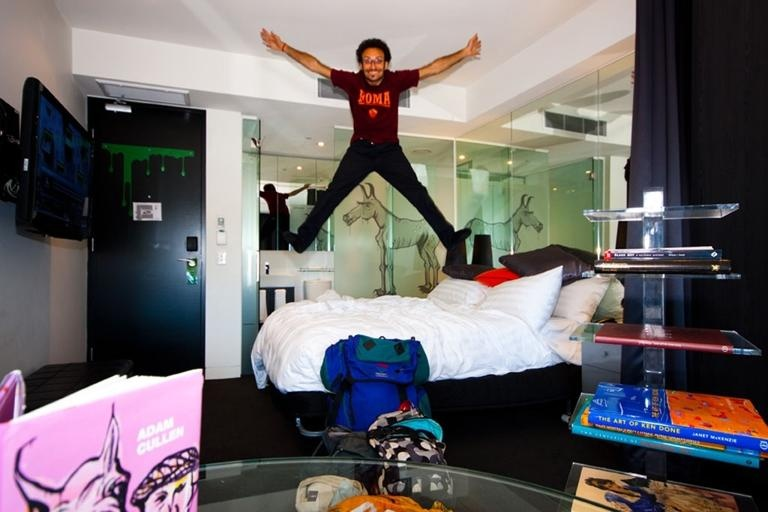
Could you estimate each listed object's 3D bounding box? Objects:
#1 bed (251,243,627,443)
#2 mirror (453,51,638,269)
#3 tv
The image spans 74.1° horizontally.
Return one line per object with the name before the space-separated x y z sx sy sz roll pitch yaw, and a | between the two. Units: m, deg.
bed | 0.406 0.583 3.987 2.018 0.767 1.426 2 -3 -11
mirror | 1.502 -0.919 4.682 0.056 1.399 2.067 -1 2 -26
tv | -2.297 -0.594 3.519 0.219 1.120 1.032 -2 1 -15
